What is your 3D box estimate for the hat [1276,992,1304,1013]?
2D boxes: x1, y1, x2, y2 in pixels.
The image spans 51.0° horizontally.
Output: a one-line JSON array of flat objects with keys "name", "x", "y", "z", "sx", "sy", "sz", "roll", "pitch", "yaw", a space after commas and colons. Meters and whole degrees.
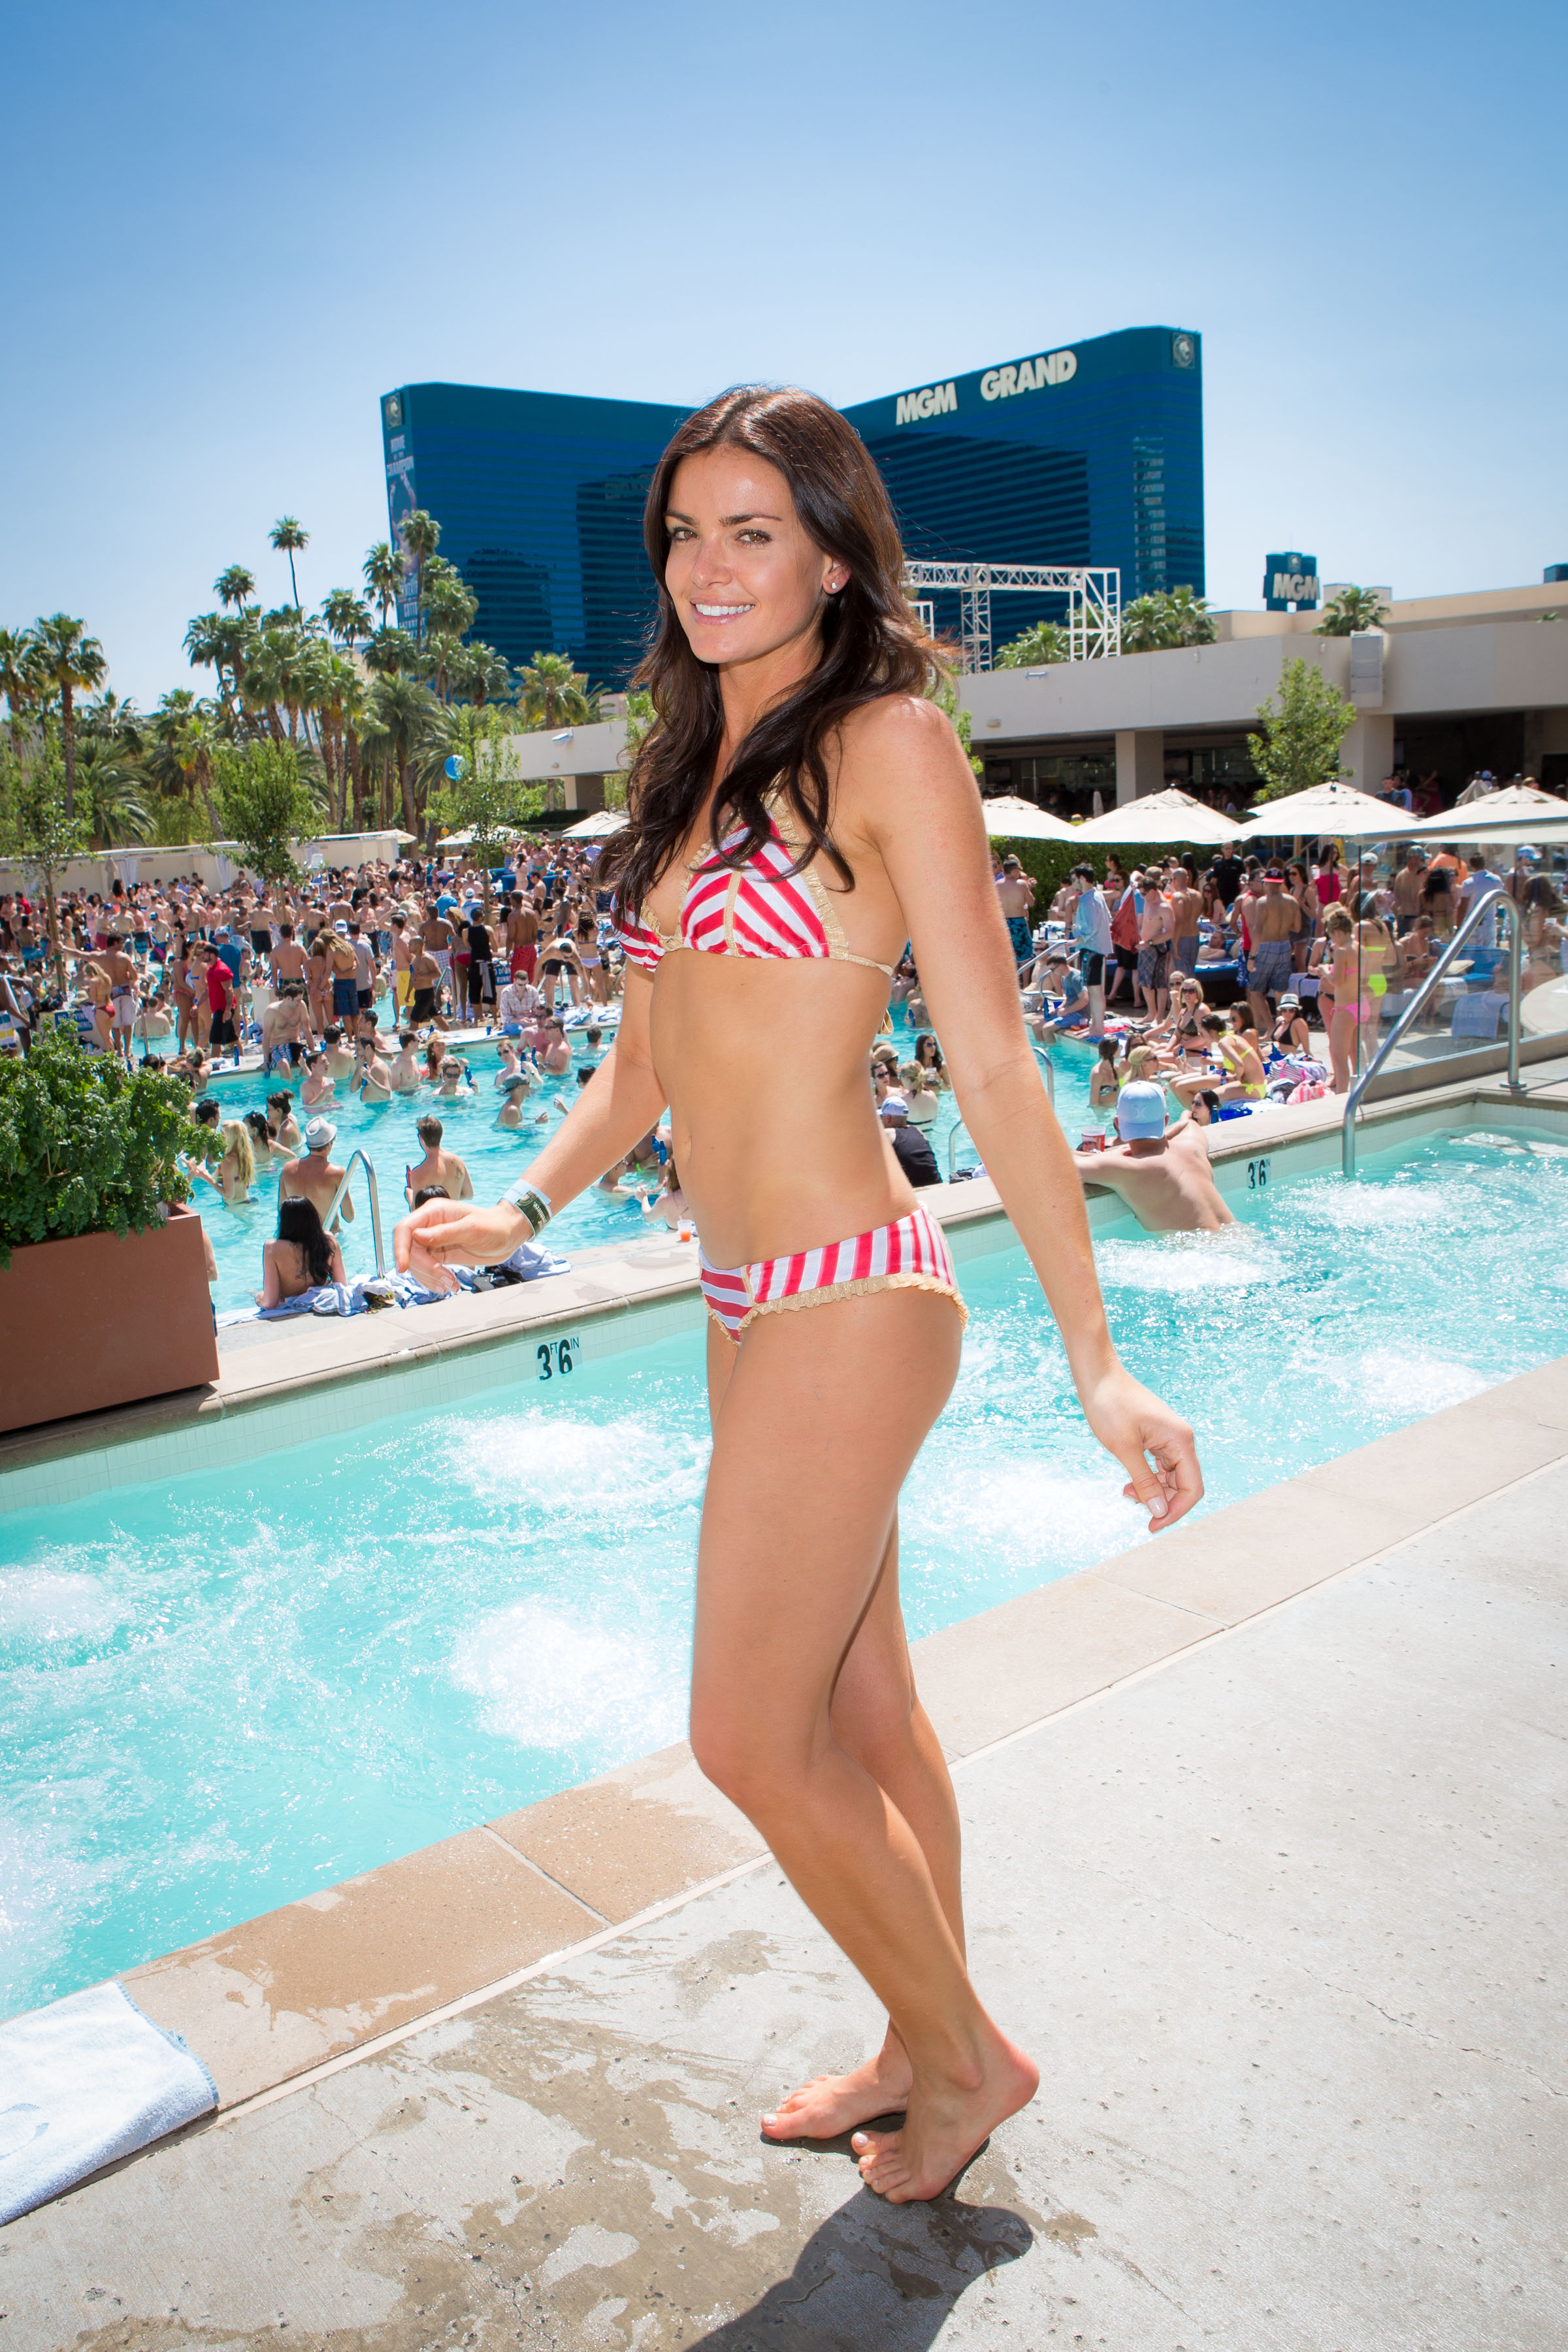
[{"name": "hat", "x": 4.517, "y": -1.508, "z": 14.545, "sx": 0.196, "sy": 0.134, "sz": 0.276, "roll": -1, "pitch": 0, "yaw": 9}]

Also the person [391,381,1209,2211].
[{"name": "person", "x": 0.061, "y": 0.116, "z": 1.528, "sx": 0.387, "sy": 1.676, "sz": 0.634, "roll": -4, "pitch": 7, "yaw": -15}]

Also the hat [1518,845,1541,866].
[{"name": "hat", "x": 5.277, "y": -2.232, "z": 11.574, "sx": 0.150, "sy": 0.210, "sz": 0.459, "roll": 1, "pitch": 6, "yaw": 24}]

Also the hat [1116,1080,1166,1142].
[{"name": "hat", "x": 1.858, "y": -0.308, "z": 8.471, "sx": 0.295, "sy": 0.211, "sz": 0.465, "roll": 2, "pitch": 37, "yaw": 9}]
